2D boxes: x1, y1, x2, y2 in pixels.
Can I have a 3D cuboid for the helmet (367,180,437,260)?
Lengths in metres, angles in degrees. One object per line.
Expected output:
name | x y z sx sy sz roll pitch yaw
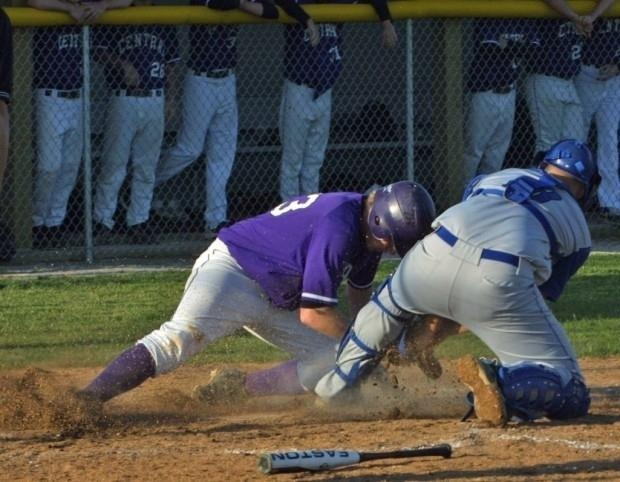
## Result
helmet | 0.527 -0.158 8.191 0.431 0.472 0.414 -7 16 -10

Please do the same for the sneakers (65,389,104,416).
sneakers | -1.321 0.945 7.951 0.177 0.135 0.068 41 -5 -23

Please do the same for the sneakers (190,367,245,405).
sneakers | -0.548 0.890 8.357 0.248 0.136 0.192 -10 3 -29

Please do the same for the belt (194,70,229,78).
belt | -0.787 -1.340 10.823 0.286 0.065 0.029 2 7 -7

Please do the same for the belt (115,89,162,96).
belt | -1.349 -1.169 10.658 0.392 0.069 0.040 -1 8 -26

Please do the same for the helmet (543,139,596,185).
helmet | 1.572 -0.502 8.189 0.234 0.285 0.271 30 16 32

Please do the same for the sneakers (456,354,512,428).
sneakers | 1.031 0.820 7.936 0.202 0.513 0.247 -36 46 -15
